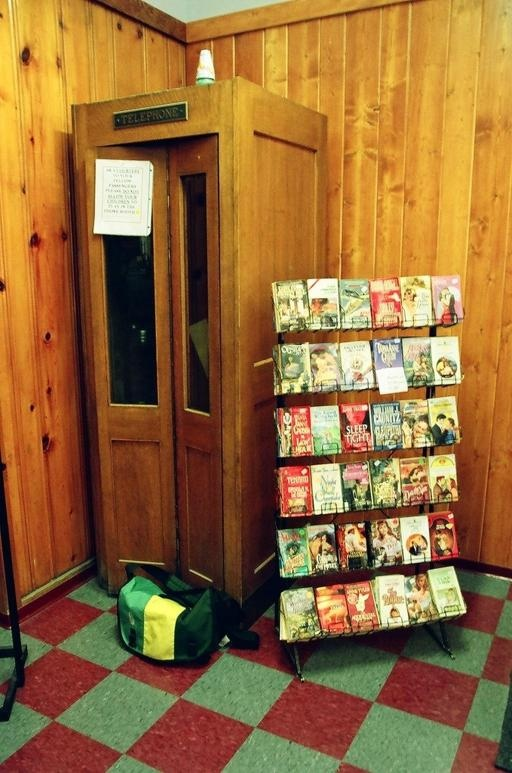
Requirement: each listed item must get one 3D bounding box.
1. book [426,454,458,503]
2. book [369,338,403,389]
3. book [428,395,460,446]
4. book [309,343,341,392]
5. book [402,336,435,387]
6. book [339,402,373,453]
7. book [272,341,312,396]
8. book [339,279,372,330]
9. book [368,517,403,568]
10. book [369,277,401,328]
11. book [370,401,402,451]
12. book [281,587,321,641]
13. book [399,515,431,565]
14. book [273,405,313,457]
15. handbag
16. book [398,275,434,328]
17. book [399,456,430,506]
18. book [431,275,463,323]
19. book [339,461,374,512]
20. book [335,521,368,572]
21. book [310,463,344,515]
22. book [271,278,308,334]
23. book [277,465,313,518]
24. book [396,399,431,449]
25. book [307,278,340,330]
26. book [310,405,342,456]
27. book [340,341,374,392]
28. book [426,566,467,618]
[{"bbox_3d":[0.661,0.320,2.122,0.096,0.187,0.021,-5,20,15],"label":"book"},{"bbox_3d":[0.447,-0.066,2.009,0.098,0.020,0.205,-4,62,6],"label":"book"},{"bbox_3d":[0.655,0.128,2.083,0.101,0.021,0.195,-5,55,21],"label":"book"},{"bbox_3d":[0.228,-0.065,1.995,0.104,0.174,0.016,-4,-23,8],"label":"book"},{"bbox_3d":[0.552,-0.089,2.038,0.100,0.194,0.022,-1,32,14],"label":"book"},{"bbox_3d":[0.342,0.129,2.043,0.127,0.188,0.042,-15,20,14],"label":"book"},{"bbox_3d":[0.126,-0.044,2.010,0.110,0.181,0.094,-2,-22,8],"label":"book"},{"bbox_3d":[0.331,-0.270,2.005,0.109,0.023,0.213,-1,60,9],"label":"book"},{"bbox_3d":[0.452,0.549,2.094,0.132,0.228,0.023,-2,1,-3],"label":"book"},{"bbox_3d":[0.430,-0.277,1.995,0.126,0.229,0.023,-1,2,0],"label":"book"},{"bbox_3d":[0.449,0.138,2.049,0.100,0.167,0.017,-4,-22,10],"label":"book"},{"bbox_3d":[0.147,0.762,1.999,0.135,0.155,0.093,0,6,1],"label":"book"},{"bbox_3d":[0.554,0.540,2.100,0.129,0.230,0.022,-1,-9,-8],"label":"book"},{"bbox_3d":[0.135,0.130,2.027,0.107,0.180,0.093,-2,24,3],"label":"book"},{"bbox_3d":[-0.238,0.727,2.161,0.356,0.210,0.339,10,7,42],"label":"handbag"},{"bbox_3d":[0.532,-0.284,2.005,0.125,0.257,0.026,-3,6,0],"label":"book"},{"bbox_3d":[0.558,0.326,2.107,0.093,0.184,0.021,-6,21,12],"label":"book"},{"bbox_3d":[0.650,-0.283,2.027,0.094,0.023,0.195,-1,62,14],"label":"book"},{"bbox_3d":[0.340,0.346,2.047,0.130,0.221,0.021,-4,-1,-16],"label":"book"},{"bbox_3d":[0.328,0.558,2.075,0.129,0.212,0.103,-5,-4,30],"label":"book"},{"bbox_3d":[0.236,0.354,2.028,0.107,0.017,0.185,-5,54,7],"label":"book"},{"bbox_3d":[0.119,-0.245,1.987,0.128,0.114,0.187,-14,51,12],"label":"book"},{"bbox_3d":[0.131,0.348,2.034,0.107,0.173,0.092,-3,7,-10],"label":"book"},{"bbox_3d":[0.551,0.121,2.069,0.101,0.192,0.022,-5,26,16],"label":"book"},{"bbox_3d":[0.221,-0.262,1.972,0.108,0.021,0.217,0,60,6],"label":"book"},{"bbox_3d":[0.230,0.157,2.017,0.109,0.022,0.207,-2,50,8],"label":"book"},{"bbox_3d":[0.334,-0.067,2.015,0.109,0.020,0.188,-2,61,9],"label":"book"},{"bbox_3d":[0.662,0.721,2.077,0.117,0.182,0.055,1,-16,-15],"label":"book"}]
